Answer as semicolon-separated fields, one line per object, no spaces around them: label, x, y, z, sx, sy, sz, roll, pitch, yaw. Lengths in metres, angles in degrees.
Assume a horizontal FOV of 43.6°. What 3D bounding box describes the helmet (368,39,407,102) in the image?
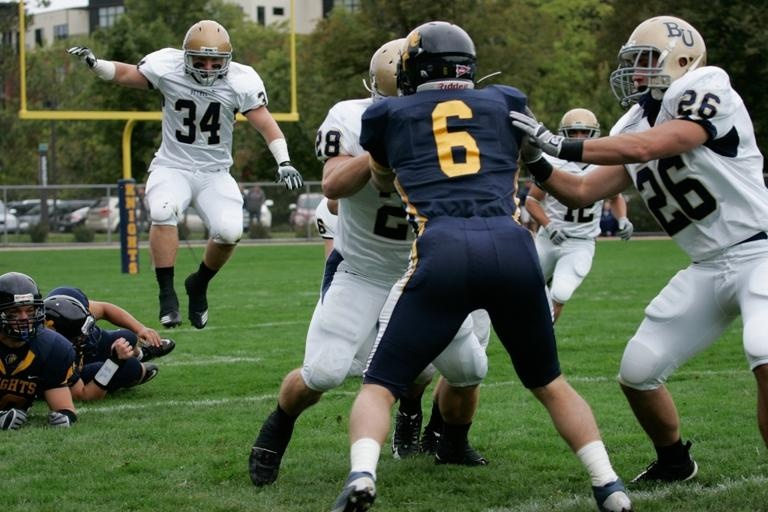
helmet;-0.003;-1.286;6.561;0.295;0.384;0.327;11;-33;-16

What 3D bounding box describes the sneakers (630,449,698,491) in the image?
sneakers;1.829;1.397;6.299;0.519;0.197;0.173;-6;2;1

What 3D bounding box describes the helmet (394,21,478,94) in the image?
helmet;0.333;-1.275;6.030;0.488;0.487;0.623;-3;12;-14

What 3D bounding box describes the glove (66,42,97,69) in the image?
glove;-2.688;-1.782;8.619;0.259;0.186;0.225;2;8;8

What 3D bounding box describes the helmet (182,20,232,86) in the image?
helmet;-1.619;-1.895;8.835;0.459;0.554;0.623;0;24;-16

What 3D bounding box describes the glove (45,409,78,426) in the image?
glove;-2.392;1.193;7.116;0.188;0.098;0.080;7;-7;-1

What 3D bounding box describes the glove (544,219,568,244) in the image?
glove;1.727;-0.249;9.593;0.151;0.087;0.221;11;31;-31

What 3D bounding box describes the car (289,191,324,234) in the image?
car;-2.039;-1.164;25.561;1.145;0.936;1.815;0;3;-5
